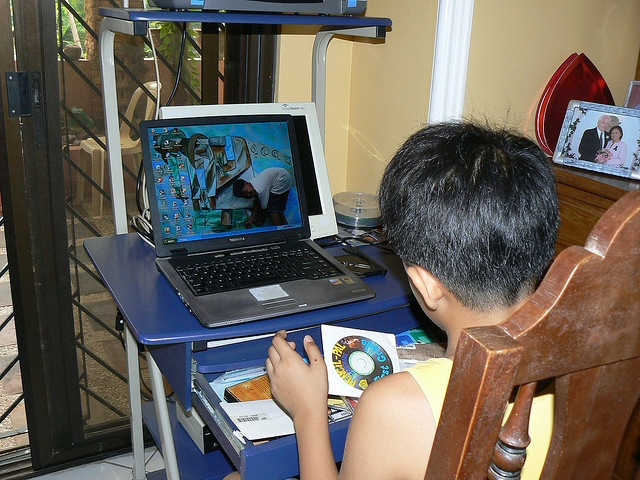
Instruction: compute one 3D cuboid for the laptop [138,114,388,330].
[{"bbox_3d":[-0.161,-0.054,1.238,0.472,0.386,0.523,-11,32,-30],"label":"laptop"}]
